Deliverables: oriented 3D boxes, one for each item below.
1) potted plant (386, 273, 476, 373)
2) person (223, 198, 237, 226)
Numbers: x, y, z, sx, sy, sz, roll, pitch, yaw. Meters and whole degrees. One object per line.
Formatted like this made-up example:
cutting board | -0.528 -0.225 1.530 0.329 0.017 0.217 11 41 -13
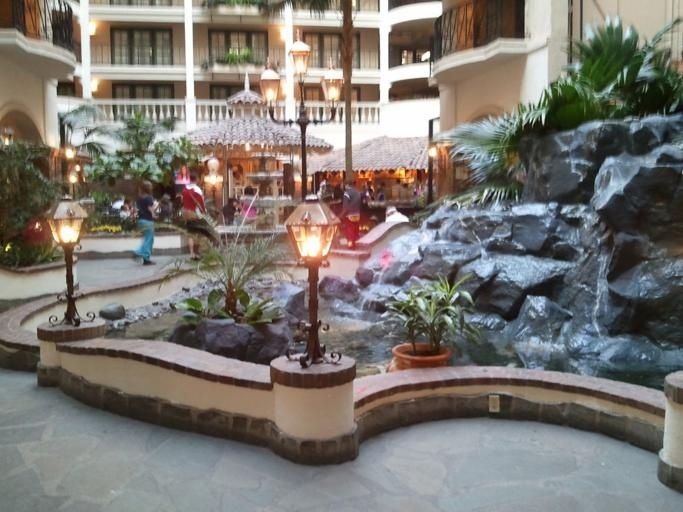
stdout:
potted plant | 1.075 0.918 7.510 0.953 1.533 1.114 9 4 22
person | -3.482 -1.416 19.555 0.375 0.727 2.947 -3 8 -9
